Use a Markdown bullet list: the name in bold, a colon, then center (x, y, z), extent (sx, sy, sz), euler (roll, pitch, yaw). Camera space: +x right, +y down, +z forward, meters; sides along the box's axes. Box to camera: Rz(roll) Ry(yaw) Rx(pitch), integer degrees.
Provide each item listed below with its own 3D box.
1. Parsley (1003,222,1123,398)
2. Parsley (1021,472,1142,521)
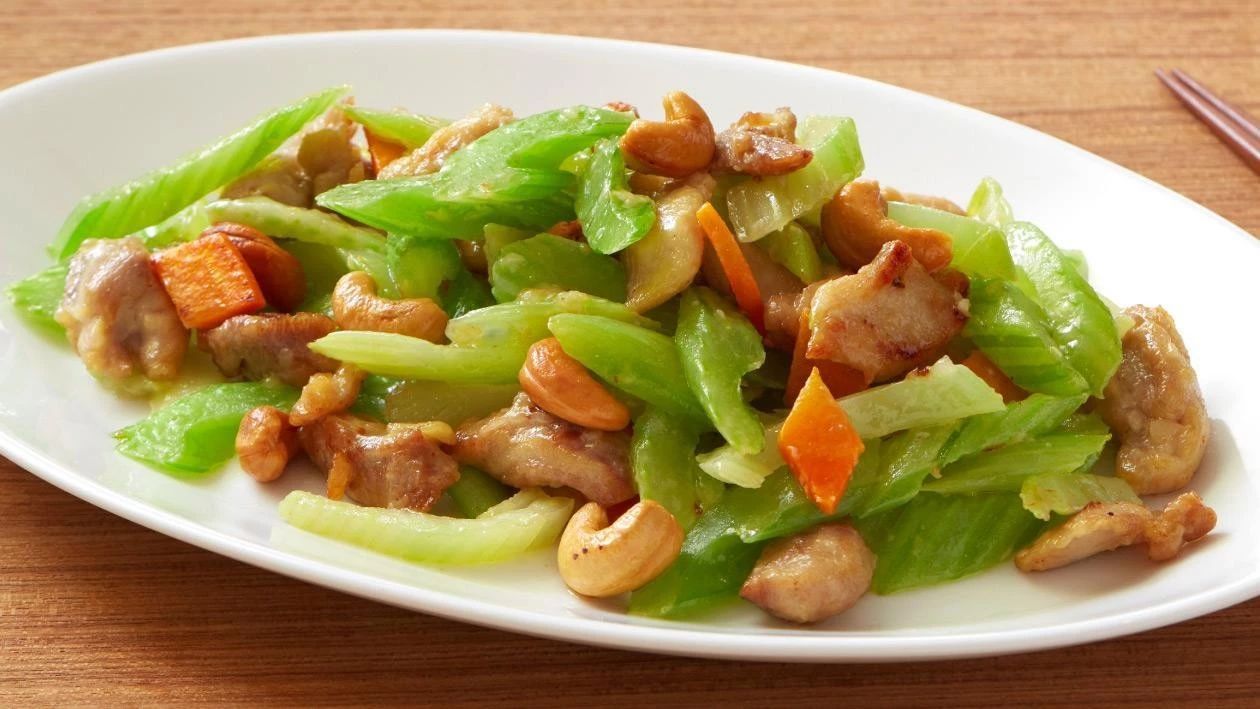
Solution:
- **Parsley**: center (1.211, -0.128, 3.208), extent (0.294, 0.233, 0.472), euler (-2, 93, -16)
- **Parsley**: center (1.228, 0.378, 3.072), extent (0.254, 0.047, 0.156), euler (-3, 40, -22)
